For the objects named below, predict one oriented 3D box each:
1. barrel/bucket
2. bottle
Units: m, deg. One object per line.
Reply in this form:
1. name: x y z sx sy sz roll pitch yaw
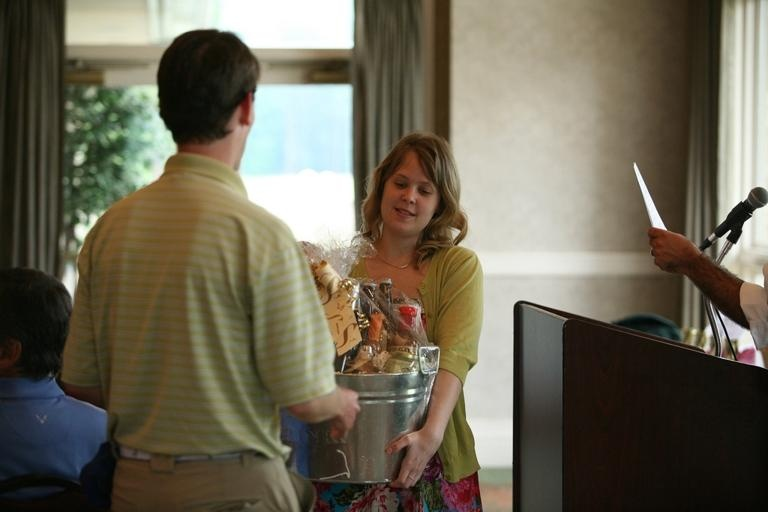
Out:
1. barrel/bucket: -0.063 0.545 2.638 0.425 0.349 0.429 2 -13 1
2. bottle: 0.008 0.248 2.823 0.295 0.329 0.249 -8 -17 21
